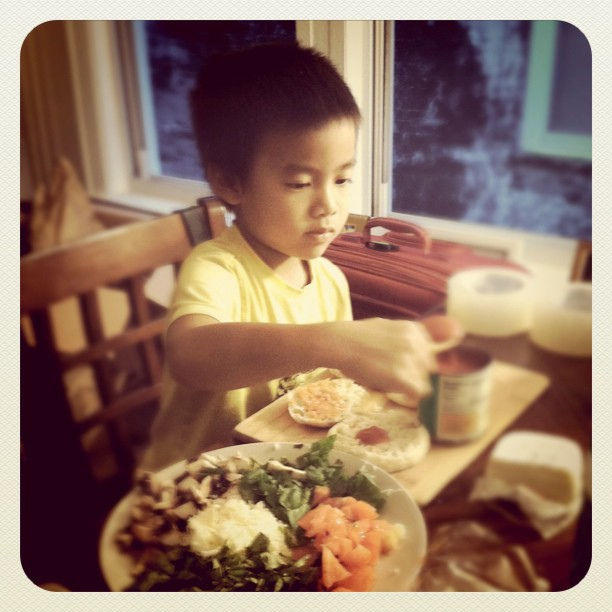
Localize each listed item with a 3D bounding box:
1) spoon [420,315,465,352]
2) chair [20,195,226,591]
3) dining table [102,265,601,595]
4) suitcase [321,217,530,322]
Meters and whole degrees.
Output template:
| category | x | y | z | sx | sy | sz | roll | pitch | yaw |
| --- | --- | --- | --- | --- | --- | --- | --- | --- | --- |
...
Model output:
| category | x | y | z | sx | sy | sz | roll | pitch | yaw |
| --- | --- | --- | --- | --- | --- | --- | --- | --- | --- |
| spoon | 0.234 | 0.045 | 0.978 | 0.073 | 0.025 | 0.059 | -10 | 59 | -19 |
| chair | -0.344 | 0.139 | 1.128 | 0.352 | 0.692 | 0.319 | 15 | 24 | 40 |
| dining table | 0.099 | 0.239 | 0.929 | 0.868 | 0.547 | 0.286 | -6 | 26 | -16 |
| suitcase | 0.142 | -0.061 | 1.271 | 0.638 | 0.170 | 0.387 | 6 | 1 | -5 |
